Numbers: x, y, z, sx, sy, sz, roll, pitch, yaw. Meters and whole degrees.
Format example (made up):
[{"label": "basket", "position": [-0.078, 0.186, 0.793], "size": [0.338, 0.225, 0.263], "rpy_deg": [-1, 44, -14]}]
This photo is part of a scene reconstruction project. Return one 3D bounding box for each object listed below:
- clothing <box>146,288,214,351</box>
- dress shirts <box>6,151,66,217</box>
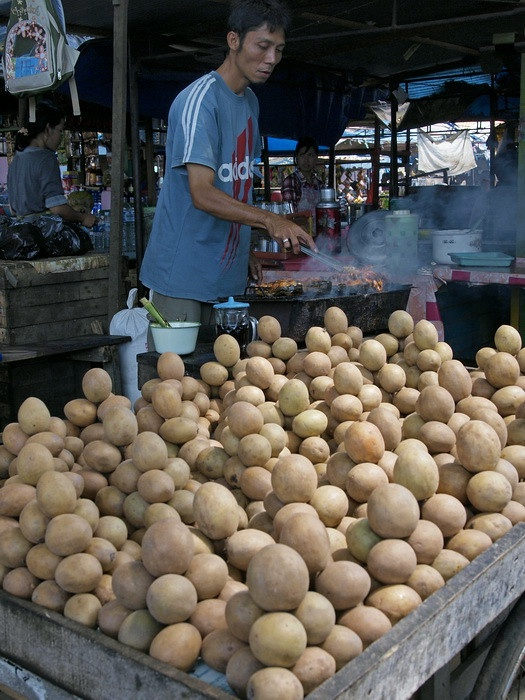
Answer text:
[{"label": "clothing", "position": [-0.348, -0.139, 2.659], "size": [0.269, 0.198, 0.299], "rpy_deg": [-1, 4, -13]}, {"label": "dress shirts", "position": [-1.880, -1.362, 4.712], "size": [0.495, 0.551, 0.284], "rpy_deg": [4, 13, 7]}]
